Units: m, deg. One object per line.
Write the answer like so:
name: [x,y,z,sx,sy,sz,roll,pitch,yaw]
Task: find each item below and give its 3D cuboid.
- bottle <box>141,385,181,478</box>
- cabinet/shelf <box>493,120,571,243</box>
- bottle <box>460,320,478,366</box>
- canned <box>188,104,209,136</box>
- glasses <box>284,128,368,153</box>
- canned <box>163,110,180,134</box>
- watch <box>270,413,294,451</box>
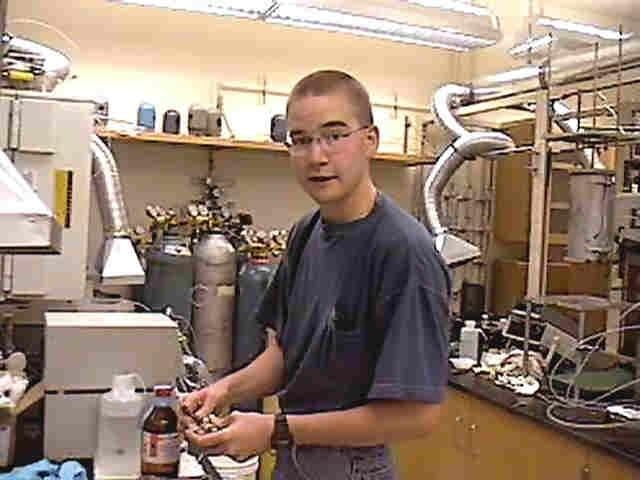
bottle: [-0.503,0.610,1.898,0.128,0.301,0.079,-1,2,-9]
cabinet/shelf: [1.516,-0.425,4.447,0.219,0.915,0.591,-3,3,-45]
bottle: [0.817,0.559,3.299,0.116,0.220,0.097,0,2,21]
canned: [-0.754,-0.740,3.754,0.133,0.188,0.144,8,14,-1]
glasses: [0.023,-0.299,1.804,0.246,0.071,0.078,-1,2,0]
canned: [-0.928,-0.740,3.758,0.112,0.149,0.044,-1,2,-15]
watch: [-0.112,0.560,1.740,0.059,0.094,0.089,-4,18,0]
